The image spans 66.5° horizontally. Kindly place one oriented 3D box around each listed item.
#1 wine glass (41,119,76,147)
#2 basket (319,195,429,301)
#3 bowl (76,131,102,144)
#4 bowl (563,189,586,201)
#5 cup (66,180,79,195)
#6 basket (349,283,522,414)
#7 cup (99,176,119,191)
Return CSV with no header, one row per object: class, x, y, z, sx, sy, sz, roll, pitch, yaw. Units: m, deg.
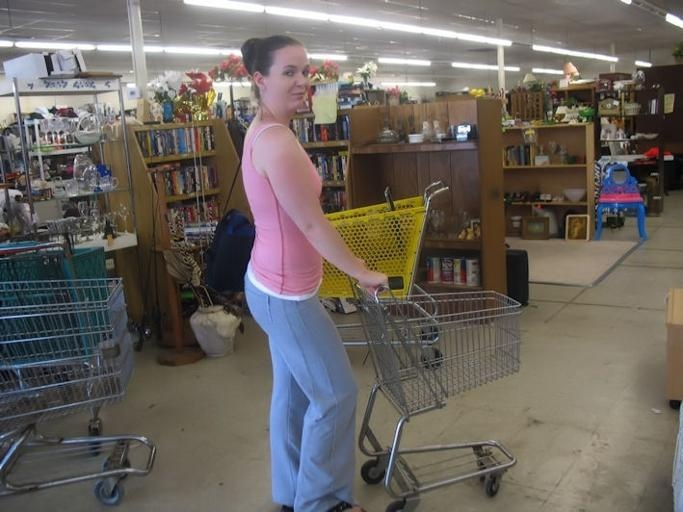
wine glass,-2.761,-1.210,5.099,0.235,0.207,0.215,2,21,3
basket,0.228,-0.108,3.993,0.796,0.834,0.550,-3,11,3
bowl,-2.500,-1.165,5.124,0.256,0.120,0.170,-6,10,-12
bowl,3.863,-1.021,8.622,0.224,0.132,0.241,-6,10,1
cup,-2.552,-0.643,4.930,0.117,0.148,0.134,-9,11,-29
basket,0.543,0.574,3.035,0.795,0.707,0.555,-13,21,-10
cup,-2.294,-0.708,5.154,0.151,0.120,0.107,-5,7,-36
